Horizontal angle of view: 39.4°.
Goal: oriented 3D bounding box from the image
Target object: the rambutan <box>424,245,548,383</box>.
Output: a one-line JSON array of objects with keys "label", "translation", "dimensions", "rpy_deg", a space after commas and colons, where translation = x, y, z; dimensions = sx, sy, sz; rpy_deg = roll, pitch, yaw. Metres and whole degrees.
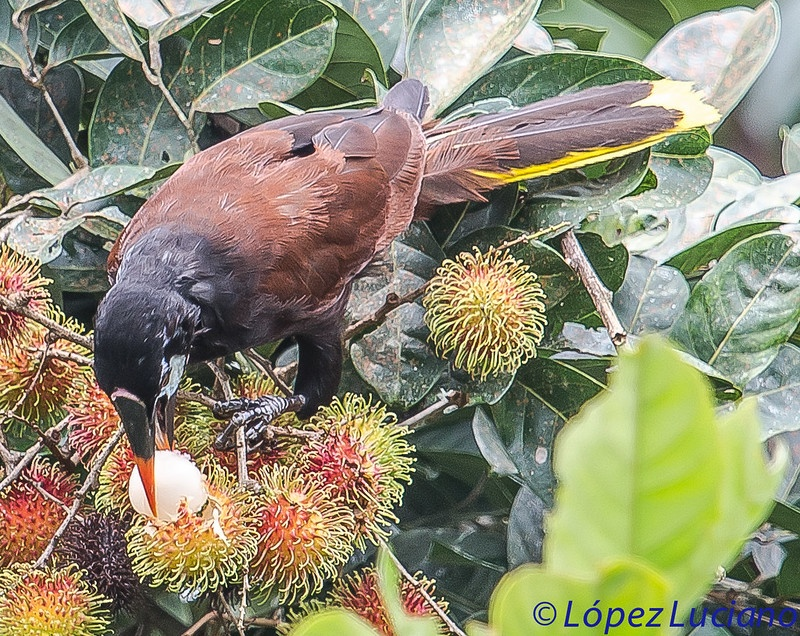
[{"label": "rambutan", "translation": [0.186, -0.011, 2.327], "dimensions": [0.238, 0.154, 0.257], "rpy_deg": [-34, 58, -24]}]

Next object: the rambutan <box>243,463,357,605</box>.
[{"label": "rambutan", "translation": [-0.116, 0.302, 2.237], "dimensions": [0.225, 0.218, 0.287], "rpy_deg": [2, 85, 7]}]
